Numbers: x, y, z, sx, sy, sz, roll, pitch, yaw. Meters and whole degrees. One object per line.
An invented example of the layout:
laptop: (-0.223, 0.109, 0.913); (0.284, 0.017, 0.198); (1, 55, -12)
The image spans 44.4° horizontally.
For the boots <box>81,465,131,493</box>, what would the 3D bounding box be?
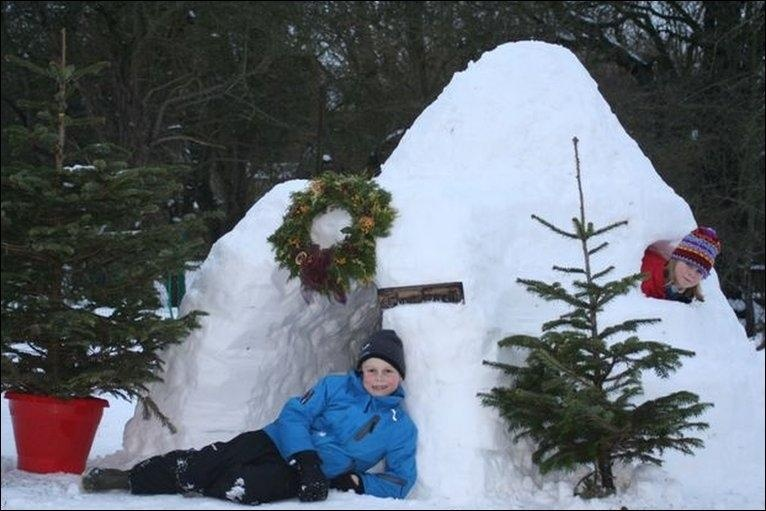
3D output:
boots: (-3.225, 2.601, 10.905); (0.510, 0.186, 0.291); (3, 25, -11)

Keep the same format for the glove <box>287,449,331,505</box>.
glove: (-0.801, 2.401, 10.209); (0.250, 0.510, 0.746); (-20, -39, -15)

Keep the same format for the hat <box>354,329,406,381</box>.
hat: (-0.019, 1.094, 10.765); (0.429, 0.474, 0.599); (3, -30, 10)

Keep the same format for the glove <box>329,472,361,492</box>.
glove: (-0.406, 2.521, 10.414); (0.246, 0.203, 0.117); (1, 10, 2)
